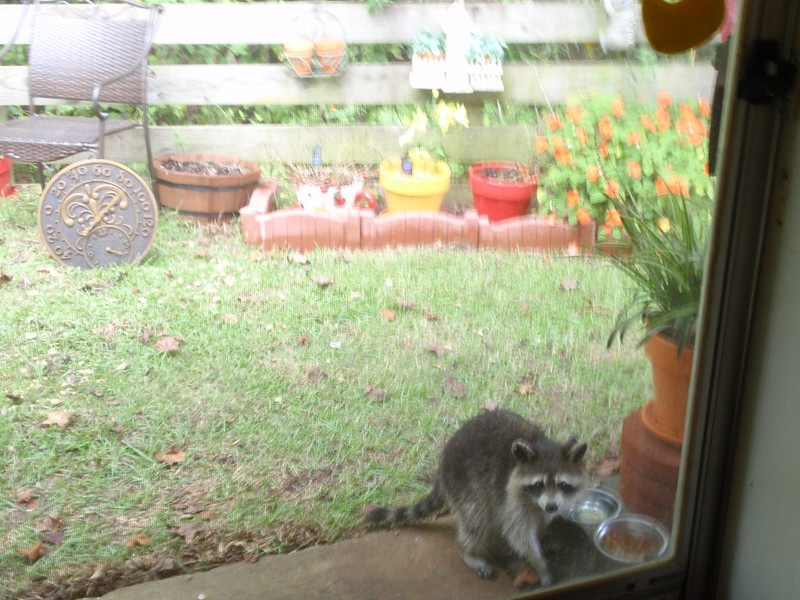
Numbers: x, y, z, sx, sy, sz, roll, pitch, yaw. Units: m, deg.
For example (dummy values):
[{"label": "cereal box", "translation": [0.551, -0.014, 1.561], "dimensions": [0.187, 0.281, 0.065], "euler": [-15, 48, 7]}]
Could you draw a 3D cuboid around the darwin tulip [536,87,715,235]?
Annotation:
[{"label": "darwin tulip", "translation": [0.552, -0.325, 1.798], "dimensions": [0.479, 0.323, 0.099], "euler": [-11, 32, -15]}]

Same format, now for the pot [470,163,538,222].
[{"label": "pot", "translation": [0.243, -0.258, 1.735], "dimensions": [0.127, 0.102, 0.137], "euler": [6, 24, -3]}]

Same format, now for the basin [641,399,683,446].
[{"label": "basin", "translation": [0.693, 0.337, 1.953], "dimensions": [0.105, 0.031, 0.106], "euler": [1, 36, -1]}]

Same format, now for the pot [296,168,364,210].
[{"label": "pot", "translation": [-0.154, -0.258, 1.668], "dimensions": [0.123, 0.088, 0.145], "euler": [-21, 35, -31]}]
